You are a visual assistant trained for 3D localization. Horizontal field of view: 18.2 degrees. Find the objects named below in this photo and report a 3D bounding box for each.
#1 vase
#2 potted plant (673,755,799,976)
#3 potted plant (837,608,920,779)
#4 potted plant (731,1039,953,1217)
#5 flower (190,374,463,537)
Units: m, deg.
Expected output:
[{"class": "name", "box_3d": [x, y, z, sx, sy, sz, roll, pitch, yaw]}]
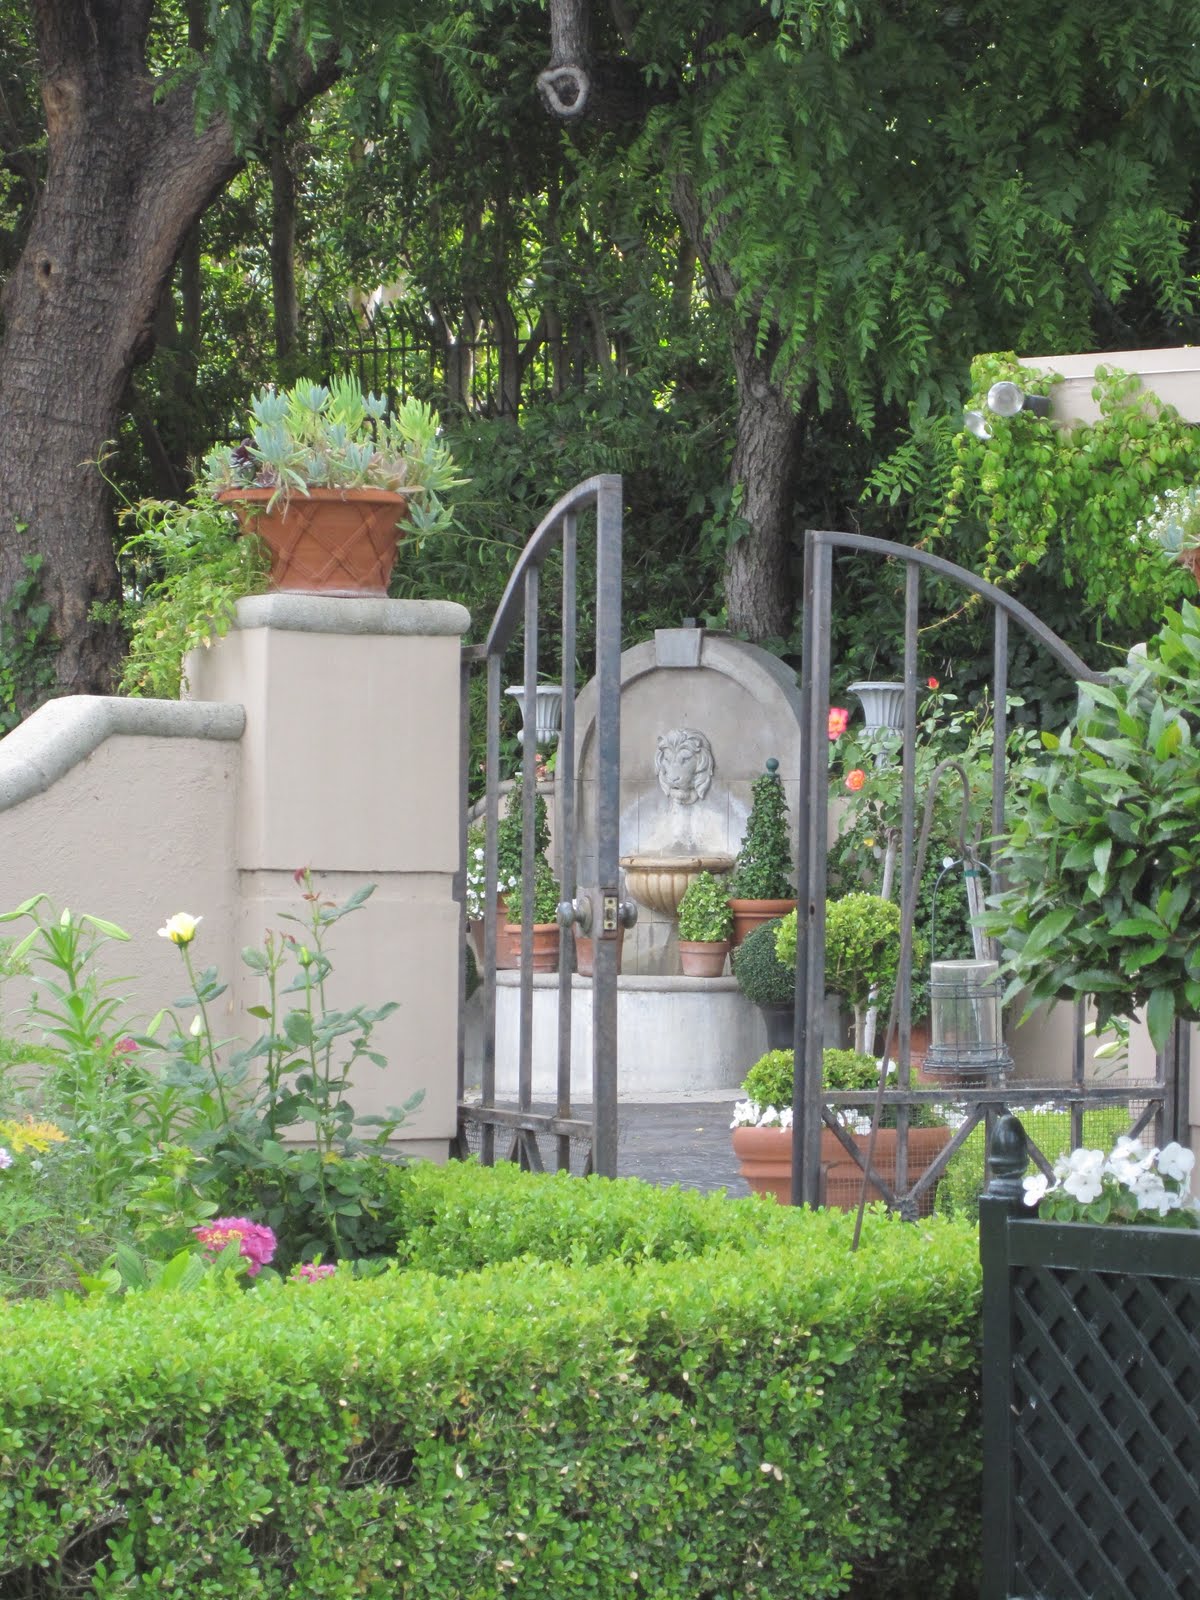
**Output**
[{"class": "vase", "box_3d": [-0.683, -0.681, 9.339, 0.444, 0.340, 0.538, -6, 13, -37]}, {"class": "potted plant", "box_3d": [0.553, 0.281, 15.166, 0.459, 0.890, 0.592, 0, -5, 0]}, {"class": "potted plant", "box_3d": [1.119, -0.332, 15.156, 0.388, 0.561, 0.375, 0, 0, 39]}, {"class": "potted plant", "box_3d": [0.631, 0.924, 10.429, 0.441, 0.436, 0.519, 2, -5, -4]}, {"class": "flower", "box_3d": [-0.630, -0.845, 9.334, 0.530, 0.421, 0.641, -1, 7, -4]}]
